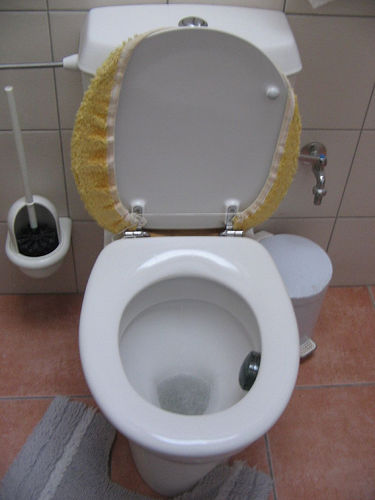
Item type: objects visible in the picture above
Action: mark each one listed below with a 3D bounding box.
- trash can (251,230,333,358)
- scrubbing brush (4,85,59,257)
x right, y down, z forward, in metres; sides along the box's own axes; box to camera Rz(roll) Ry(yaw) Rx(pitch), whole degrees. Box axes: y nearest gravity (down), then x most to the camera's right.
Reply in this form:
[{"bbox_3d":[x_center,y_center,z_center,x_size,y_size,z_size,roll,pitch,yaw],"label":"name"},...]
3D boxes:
[{"bbox_3d":[0.214,0.142,1.121,0.220,0.312,0.258,2,37,-3],"label":"trash can"},{"bbox_3d":[-0.346,-0.170,0.876,0.094,0.361,0.167,-4,44,-8],"label":"scrubbing brush"}]
